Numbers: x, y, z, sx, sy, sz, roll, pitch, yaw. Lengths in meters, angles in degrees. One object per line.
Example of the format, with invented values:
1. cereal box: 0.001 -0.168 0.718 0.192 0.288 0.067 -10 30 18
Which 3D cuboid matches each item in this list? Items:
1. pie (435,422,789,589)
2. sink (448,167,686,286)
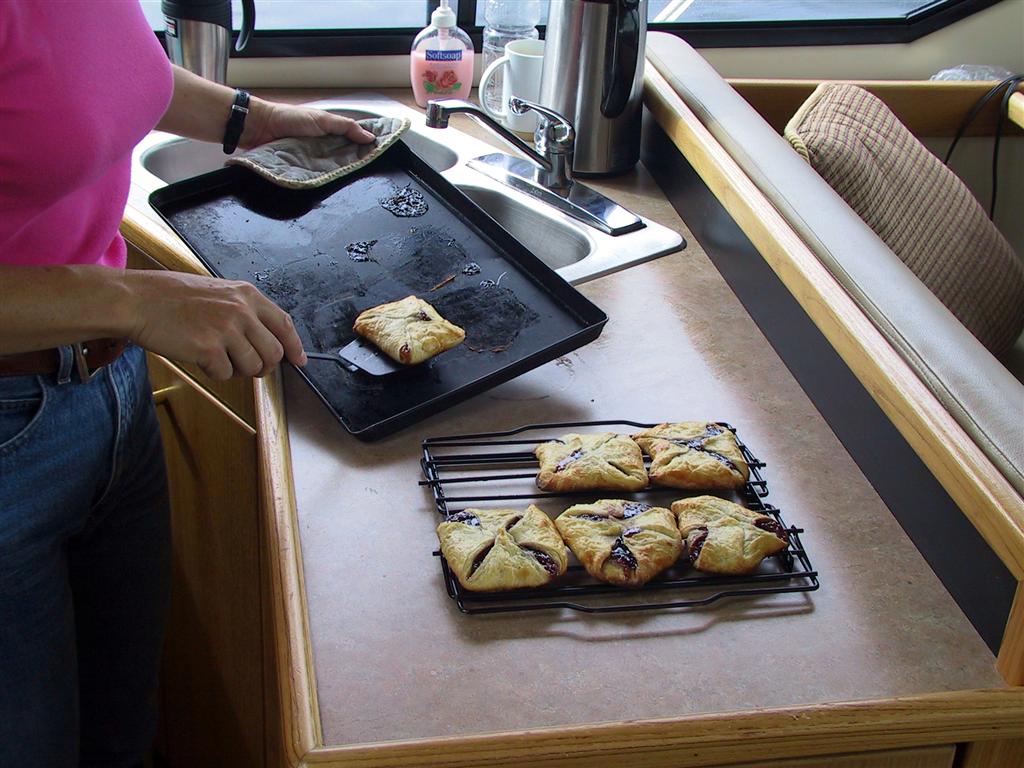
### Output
1. pie: 0.097 0.119 0.821 0.373 0.060 0.239 -6 43 -7
2. sink: 0.079 -0.290 1.396 0.276 0.080 0.408 -24 45 -26
